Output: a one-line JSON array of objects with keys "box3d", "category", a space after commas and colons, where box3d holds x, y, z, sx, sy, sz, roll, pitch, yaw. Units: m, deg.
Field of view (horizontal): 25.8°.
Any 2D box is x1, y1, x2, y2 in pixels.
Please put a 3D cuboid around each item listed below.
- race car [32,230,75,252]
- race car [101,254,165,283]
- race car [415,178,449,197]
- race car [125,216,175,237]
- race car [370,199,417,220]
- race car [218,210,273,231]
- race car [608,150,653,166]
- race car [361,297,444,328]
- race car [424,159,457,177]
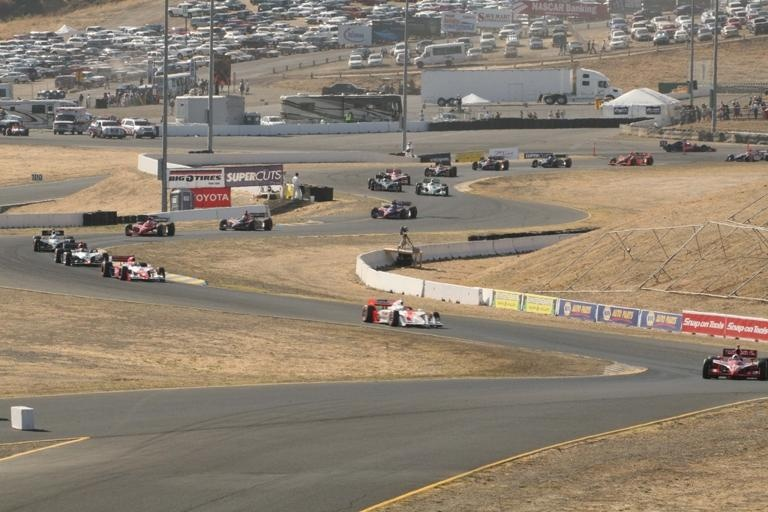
[{"box3d": [-21.777, -0.966, 109.862, 2.160, 0.862, 3.152, 0, 2, -12], "category": "race car"}, {"box3d": [-15.708, 0.789, 104.365, 3.608, 1.535, 1.507, 0, 6, 21], "category": "race car"}, {"box3d": [3.521, -5.187, 128.096, 2.164, 0.803, 2.949, 1, 2, -1], "category": "race car"}, {"box3d": [-16.183, -2.016, 115.193, 3.056, 0.750, 1.631, 2, 1, 29], "category": "race car"}, {"box3d": [0.629, -3.308, 120.880, 3.058, 1.236, 2.416, -1, 5, 5], "category": "race car"}, {"box3d": [-9.487, -2.520, 118.202, 1.892, 0.838, 3.070, 1, 0, 32], "category": "race car"}, {"box3d": [20.239, -7.999, 136.245, 2.820, 0.658, 1.606, 0, 0, -16], "category": "race car"}, {"box3d": [0.831, 3.373, 99.251, 4.426, 1.540, 1.012, -1, 6, 9], "category": "race car"}, {"box3d": [4.383, -7.063, 135.111, 2.442, 1.004, 3.605, 0, 2, 6], "category": "race car"}]
